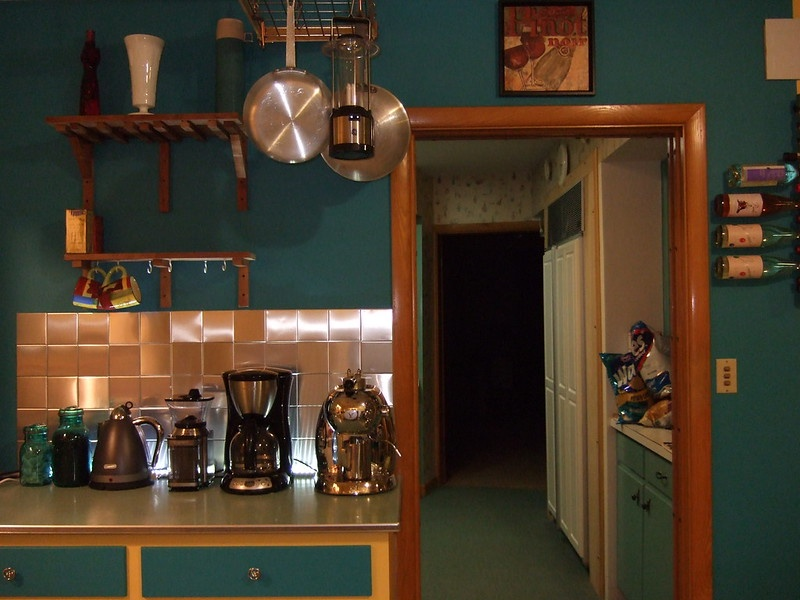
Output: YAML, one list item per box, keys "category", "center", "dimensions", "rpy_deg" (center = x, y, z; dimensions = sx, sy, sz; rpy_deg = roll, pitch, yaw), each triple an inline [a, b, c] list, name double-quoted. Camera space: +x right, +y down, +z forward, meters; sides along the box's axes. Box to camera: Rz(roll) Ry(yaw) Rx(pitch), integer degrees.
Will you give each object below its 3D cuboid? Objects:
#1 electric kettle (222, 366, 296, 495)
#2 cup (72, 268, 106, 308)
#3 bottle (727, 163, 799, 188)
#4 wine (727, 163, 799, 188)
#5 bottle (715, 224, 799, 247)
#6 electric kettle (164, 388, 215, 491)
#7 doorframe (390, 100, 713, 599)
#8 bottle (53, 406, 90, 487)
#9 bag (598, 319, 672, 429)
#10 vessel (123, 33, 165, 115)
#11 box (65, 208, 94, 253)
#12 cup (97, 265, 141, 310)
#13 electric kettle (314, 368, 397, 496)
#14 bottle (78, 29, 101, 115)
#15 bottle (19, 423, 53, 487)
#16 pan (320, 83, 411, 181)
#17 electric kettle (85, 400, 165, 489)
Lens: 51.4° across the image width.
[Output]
- category: "electric kettle"
  center: [-0.604, 0.559, 3.529]
  dimensions: [0.349, 0.583, 0.437]
  rpy_deg: [0, -8, -2]
- category: "cup"
  center: [-1.378, -0.048, 3.671]
  dimensions: [0.128, 0.207, 0.105]
  rpy_deg: [4, -9, 16]
- category: "bottle"
  center: [1.606, -0.549, 3.662]
  dimensions: [0.308, 0.108, 0.087]
  rpy_deg: [-1, 3, -8]
- category: "wine"
  center: [1.606, -0.549, 3.662]
  dimensions: [0.308, 0.108, 0.087]
  rpy_deg: [-1, 3, -8]
- category: "bottle"
  center: [1.576, -0.279, 3.657]
  dimensions: [0.370, 0.103, 0.075]
  rpy_deg: [-1, 3, -8]
- category: "electric kettle"
  center: [-0.915, 0.591, 3.622]
  dimensions: [0.202, 0.406, 0.299]
  rpy_deg: [-1, 3, -15]
- category: "doorframe"
  center: [0.663, 0.218, 3.883]
  dimensions: [1.410, 2.186, 1.332]
  rpy_deg: [0, 3, -1]
- category: "bottle"
  center: [-1.427, 0.637, 3.598]
  dimensions: [0.145, 0.326, 0.118]
  rpy_deg: [-1, 3, -23]
- category: "bag"
  center: [1.221, 0.372, 4.239]
  dimensions: [0.143, 0.480, 0.387]
  rpy_deg: [-6, 3, -42]
- category: "vessel"
  center: [-1.121, -0.970, 3.644]
  dimensions: [0.171, 0.344, 0.179]
  rpy_deg: [0, -2, 44]
- category: "box"
  center: [-1.441, -0.305, 3.649]
  dimensions: [0.121, 0.193, 0.133]
  rpy_deg: [3, 6, 5]
- category: "cup"
  center: [-1.212, -0.072, 3.669]
  dimensions: [0.088, 0.156, 0.156]
  rpy_deg: [-30, 12, -8]
- category: "electric kettle"
  center: [-0.192, 0.561, 3.584]
  dimensions: [0.329, 0.469, 0.422]
  rpy_deg: [0, -1, -13]
- category: "bottle"
  center: [-1.364, -1.002, 3.639]
  dimensions: [0.087, 0.400, 0.164]
  rpy_deg: [-1, 3, -21]
- category: "bottle"
  center: [-1.585, 0.674, 3.608]
  dimensions: [0.128, 0.260, 0.081]
  rpy_deg: [-2, 3, -27]
- category: "pan"
  center: [-0.144, -0.650, 3.262]
  dimensions: [0.206, 0.343, 0.356]
  rpy_deg: [-3, 4, -42]
- category: "electric kettle"
  center: [-1.181, 0.633, 3.605]
  dimensions: [0.289, 0.381, 0.242]
  rpy_deg: [-1, -11, -5]
